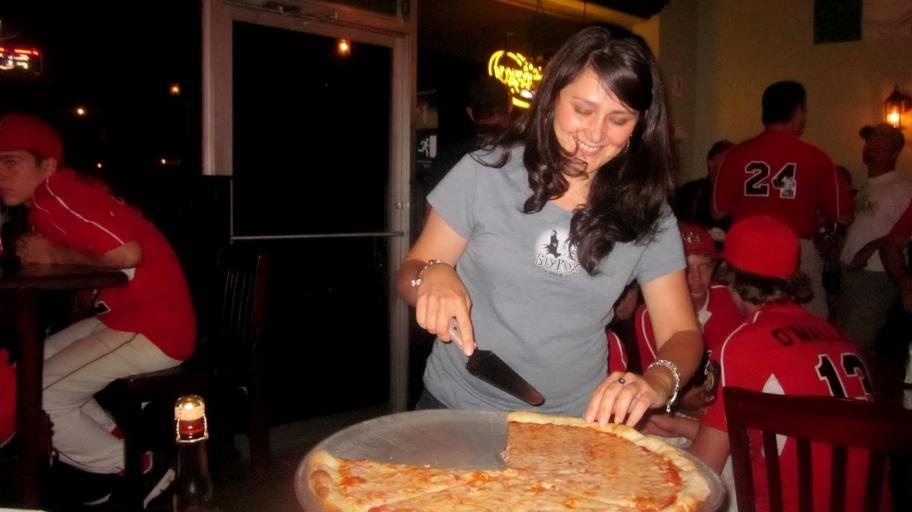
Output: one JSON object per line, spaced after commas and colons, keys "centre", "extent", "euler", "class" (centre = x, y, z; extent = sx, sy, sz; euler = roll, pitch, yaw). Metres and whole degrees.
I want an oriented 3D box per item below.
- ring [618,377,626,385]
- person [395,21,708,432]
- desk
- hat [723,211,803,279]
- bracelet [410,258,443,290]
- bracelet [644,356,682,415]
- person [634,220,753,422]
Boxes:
{"centre": [0.784, 0.588, 3.057], "extent": [0.040, 0.032, 0.017], "euler": [2, -2, -12], "class": "ring"}
{"centre": [0.531, -0.135, 3.211], "extent": [1.422, 1.927, 0.648], "euler": [2, 11, 7], "class": "person"}
{"centre": [-2.618, 0.875, 4.277], "extent": [0.614, 1.546, 0.448], "euler": [-6, 12, -30], "class": "desk"}
{"centre": [1.763, -0.039, 3.797], "extent": [0.395, 0.240, 0.366], "euler": [5, 18, -6], "class": "hat"}
{"centre": [-0.151, 0.093, 3.169], "extent": [0.061, 0.143, 0.119], "euler": [25, -20, 8], "class": "bracelet"}
{"centre": [1.029, 0.635, 3.157], "extent": [0.208, 0.242, 0.083], "euler": [17, -14, -21], "class": "bracelet"}
{"centre": [1.578, 0.411, 4.224], "extent": [0.819, 1.192, 0.713], "euler": [-18, 23, 4], "class": "person"}
